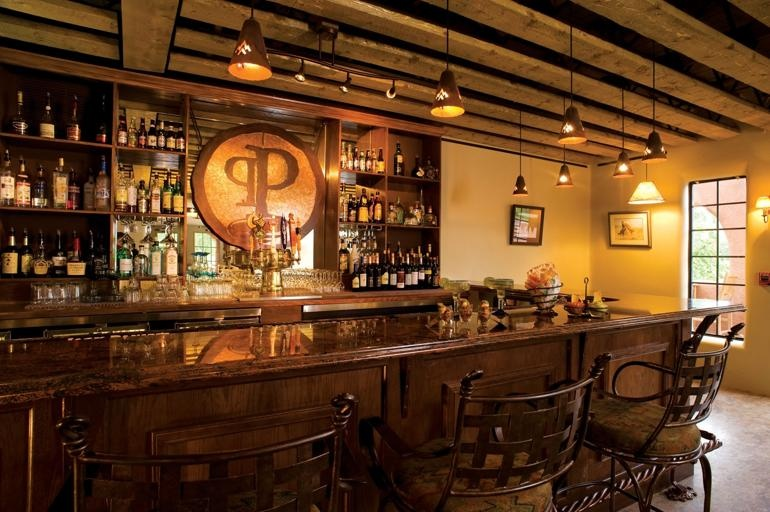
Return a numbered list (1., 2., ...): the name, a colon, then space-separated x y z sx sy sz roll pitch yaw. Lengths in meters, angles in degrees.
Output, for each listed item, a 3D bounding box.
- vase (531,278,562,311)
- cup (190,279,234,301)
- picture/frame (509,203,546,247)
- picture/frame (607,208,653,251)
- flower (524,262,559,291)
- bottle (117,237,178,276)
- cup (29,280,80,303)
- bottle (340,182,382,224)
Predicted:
1. vase: 1.204 0.285 4.329 0.248 0.179 0.236 -1 -1 2
2. cup: -1.581 0.286 5.251 0.401 0.155 0.414 1 12 0
3. picture/frame: 1.870 -0.423 7.653 0.665 0.515 0.049 0 1 -34
4. picture/frame: 3.318 -0.368 7.720 0.061 0.543 0.600 -2 3 -31
5. flower: 1.173 0.167 4.337 0.222 0.117 0.222 -7 -31 7
6. bottle: -2.174 0.011 5.216 0.390 0.328 0.129 0 0 -27
7. cup: -2.708 0.288 4.745 0.350 0.170 0.209 -5 14 -26
8. bottle: -0.257 -0.566 6.155 0.513 0.439 0.158 0 -2 -16
